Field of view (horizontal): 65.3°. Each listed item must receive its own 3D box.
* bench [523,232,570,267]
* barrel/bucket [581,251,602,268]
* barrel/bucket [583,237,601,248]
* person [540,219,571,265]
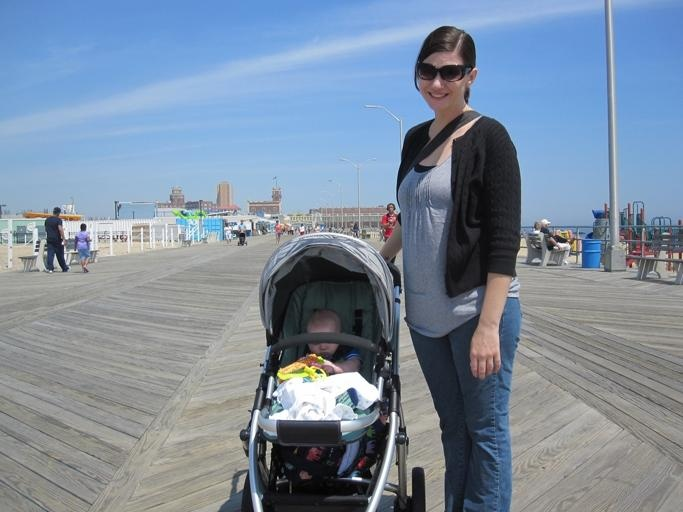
[{"bbox_3d":[7.445,-0.171,19.333,0.968,1.330,2.299,-5,5,-2],"label":"bench"},{"bbox_3d":[8.126,0.115,17.345,0.488,0.607,0.526,-1,-2,0],"label":"barrel/bucket"},{"bbox_3d":[8.142,-0.428,17.373,0.464,0.379,0.497,-1,0,0],"label":"barrel/bucket"},{"bbox_3d":[7.471,-0.370,18.689,1.095,1.259,1.003,0,5,4],"label":"person"}]
